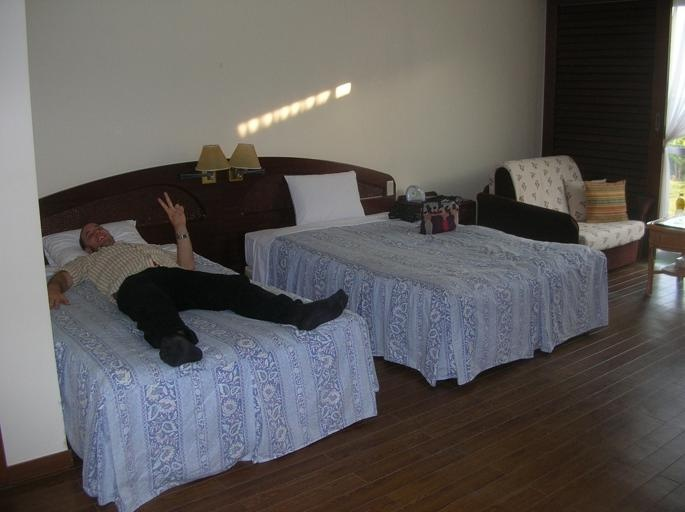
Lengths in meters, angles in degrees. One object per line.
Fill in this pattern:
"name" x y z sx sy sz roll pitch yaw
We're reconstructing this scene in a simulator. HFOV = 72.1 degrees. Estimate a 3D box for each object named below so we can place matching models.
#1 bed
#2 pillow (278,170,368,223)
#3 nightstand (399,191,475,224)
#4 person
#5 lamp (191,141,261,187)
"bed" -0.044 0.212 3.711 3.902 1.312 2.216 -19 24 -25
"pillow" -0.146 -0.578 4.723 0.745 0.528 0.200 -9 -6 -36
"nightstand" 0.948 -0.484 4.783 0.407 0.215 0.285 -11 15 -38
"person" -1.071 0.166 2.921 1.010 0.466 1.390 -8 24 -44
"lamp" -1.033 -0.827 4.253 0.668 0.326 0.283 -14 19 -42
